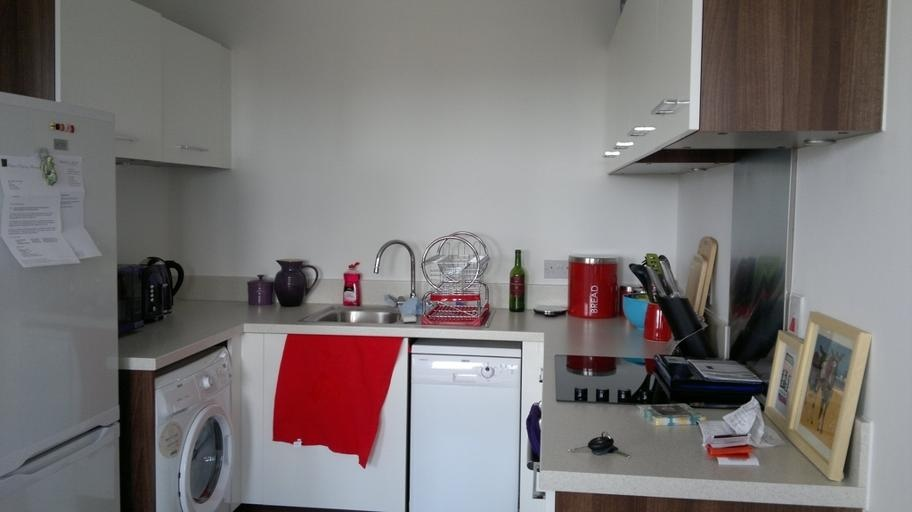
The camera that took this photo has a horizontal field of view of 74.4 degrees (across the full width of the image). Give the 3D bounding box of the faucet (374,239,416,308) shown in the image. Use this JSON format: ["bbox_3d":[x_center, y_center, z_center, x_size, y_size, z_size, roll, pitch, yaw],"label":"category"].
[{"bbox_3d":[-0.403,0.079,3.984,0.286,0.385,0.207,-1,6,-9],"label":"faucet"}]

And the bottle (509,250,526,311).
[{"bbox_3d":[0.406,0.159,3.933,0.105,0.396,0.125,0,6,9],"label":"bottle"}]

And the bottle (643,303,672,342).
[{"bbox_3d":[1.127,0.366,3.360,0.153,0.217,0.052,4,7,38],"label":"bottle"}]

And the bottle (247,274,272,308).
[{"bbox_3d":[-1.320,0.227,4.068,0.177,0.195,0.165,-1,5,-4],"label":"bottle"}]

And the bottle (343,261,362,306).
[{"bbox_3d":[-0.697,0.187,4.043,0.120,0.290,0.109,0,6,1],"label":"bottle"}]

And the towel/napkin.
[{"bbox_3d":[-0.686,0.811,3.479,0.748,0.709,0.148,1,6,12],"label":"towel/napkin"}]

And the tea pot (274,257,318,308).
[{"bbox_3d":[-1.098,0.173,3.980,0.350,0.305,0.254,1,-2,-21],"label":"tea pot"}]

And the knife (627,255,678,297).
[{"bbox_3d":[1.003,0.113,2.987,0.182,0.242,0.074,-19,-34,21],"label":"knife"}]
